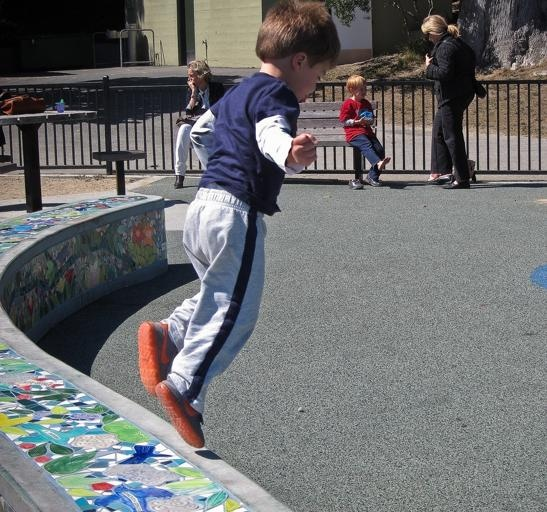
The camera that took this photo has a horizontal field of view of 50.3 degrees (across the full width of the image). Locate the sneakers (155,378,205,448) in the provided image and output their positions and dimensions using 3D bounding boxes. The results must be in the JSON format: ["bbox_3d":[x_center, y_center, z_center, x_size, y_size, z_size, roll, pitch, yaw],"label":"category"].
[{"bbox_3d":[-0.329,0.556,2.027,0.163,0.217,0.118,-2,15,0],"label":"sneakers"}]

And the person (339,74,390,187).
[{"bbox_3d":[1.387,-1.871,8.919,0.714,1.678,0.812,-1,15,6],"label":"person"}]

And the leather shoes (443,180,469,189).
[{"bbox_3d":[2.761,-1.045,8.727,0.405,0.158,0.136,2,5,2],"label":"leather shoes"}]

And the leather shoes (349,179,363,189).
[{"bbox_3d":[1.289,-1.099,9.034,0.098,0.099,0.233,-5,6,-13],"label":"leather shoes"}]

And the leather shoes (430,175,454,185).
[{"bbox_3d":[2.597,-1.168,9.047,0.372,0.157,0.126,2,7,-4],"label":"leather shoes"}]

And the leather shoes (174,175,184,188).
[{"bbox_3d":[-1.484,-1.143,9.215,0.209,0.198,0.125,9,6,2],"label":"leather shoes"}]

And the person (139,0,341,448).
[{"bbox_3d":[-0.110,-0.037,2.198,0.853,1.798,0.804,-6,15,-15],"label":"person"}]

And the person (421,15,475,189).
[{"bbox_3d":[2.573,-2.237,8.593,0.682,2.494,0.749,-10,17,-27],"label":"person"}]

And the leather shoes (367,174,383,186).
[{"bbox_3d":[1.593,-1.152,9.173,0.108,0.118,0.275,-5,12,-28],"label":"leather shoes"}]

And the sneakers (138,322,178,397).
[{"bbox_3d":[-0.479,0.401,2.346,0.136,0.309,0.114,8,-2,-29],"label":"sneakers"}]
